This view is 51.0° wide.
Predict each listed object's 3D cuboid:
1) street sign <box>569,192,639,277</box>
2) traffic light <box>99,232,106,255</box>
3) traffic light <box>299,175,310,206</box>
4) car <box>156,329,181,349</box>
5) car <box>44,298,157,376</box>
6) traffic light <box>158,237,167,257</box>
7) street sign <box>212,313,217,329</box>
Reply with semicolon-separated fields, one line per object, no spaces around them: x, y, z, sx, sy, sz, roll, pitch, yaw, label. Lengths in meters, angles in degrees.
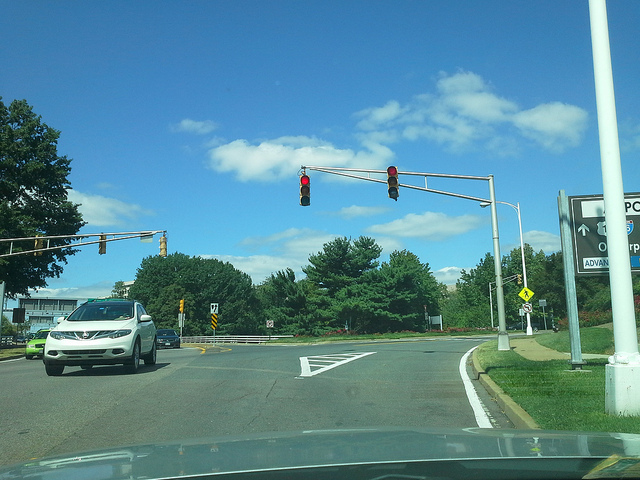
5.315;-0.110;12.463;1.653;1.689;0.180;-2;-1;33;street sign
-10.251;0.202;31.496;0.236;0.857;0.454;-2;-6;-8;traffic light
-0.531;-1.660;21.945;0.271;1.047;0.259;-3;-6;-7;traffic light
-8.741;5.681;38.556;1.213;1.118;1.815;-2;-7;-14;car
-5.219;2.413;16.816;1.475;1.154;2.753;-3;-19;-2;car
-6.984;0.276;29.685;0.261;0.784;0.673;-1;-7;-23;traffic light
-8.144;6.191;51.480;0.274;1.046;0.907;-1;-7;-19;street sign
